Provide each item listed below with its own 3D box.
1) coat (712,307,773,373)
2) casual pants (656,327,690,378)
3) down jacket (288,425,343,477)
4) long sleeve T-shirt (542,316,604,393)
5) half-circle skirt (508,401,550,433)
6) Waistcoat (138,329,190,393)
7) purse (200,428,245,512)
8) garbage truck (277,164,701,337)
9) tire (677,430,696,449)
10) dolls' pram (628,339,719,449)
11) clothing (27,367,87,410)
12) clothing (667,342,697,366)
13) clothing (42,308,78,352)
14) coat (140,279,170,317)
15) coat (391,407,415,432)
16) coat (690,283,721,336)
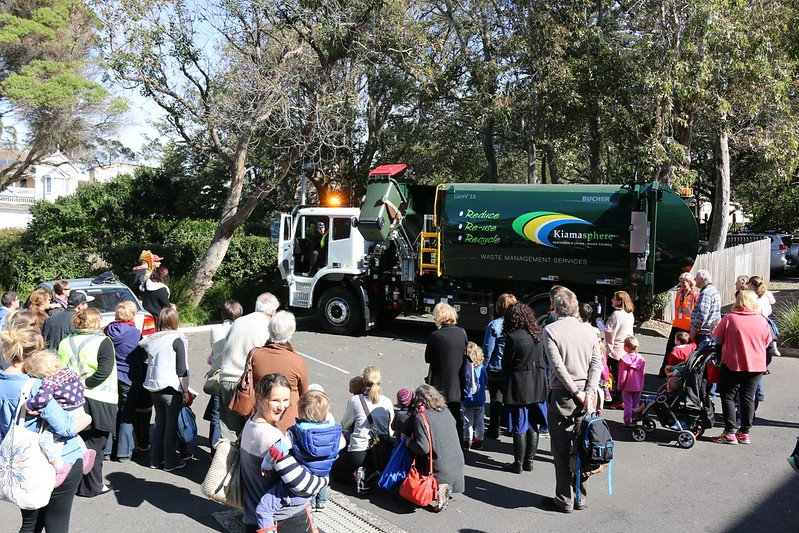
[{"bbox_3d":[6.287,1.323,12.725,1.234,1.445,0.950,3,-1,17],"label":"coat"},{"bbox_3d":[5.699,1.823,14.315,0.243,0.954,0.903,9,18,15],"label":"casual pants"},{"bbox_3d":[-1.097,2.381,9.301,0.765,0.832,0.629,2,8,-6],"label":"down jacket"},{"bbox_3d":[2.731,1.404,10.790,0.932,1.191,0.391,6,-4,-16],"label":"long sleeve T-shirt"},{"bbox_3d":[2.164,2.561,11.571,0.637,0.647,0.496,-5,8,0],"label":"half-circle skirt"},{"bbox_3d":[-3.878,1.563,11.616,0.882,1.033,0.799,3,-5,-39],"label":"Waistcoat"},{"bbox_3d":[-2.519,2.994,9.951,0.570,0.963,0.273,3,-4,16],"label":"purse"},{"bbox_3d":[2.200,-0.563,18.814,9.746,4.384,4.441,2,3,23],"label":"garbage truck"},{"bbox_3d":[5.146,3.113,12.358,0.247,0.277,0.092,17,9,19],"label":"tire"},{"bbox_3d":[5.074,2.259,12.482,1.723,2.661,1.659,0,-5,28],"label":"dolls' pram"},{"bbox_3d":[-4.631,1.674,9.281,0.450,0.555,0.708,11,16,35],"label":"clothing"},{"bbox_3d":[5.427,1.688,13.158,0.419,0.355,0.232,-19,14,12],"label":"clothing"},{"bbox_3d":[-5.607,1.075,11.376,0.573,0.743,0.396,0,-9,-5],"label":"clothing"},{"bbox_3d":[-5.152,0.677,14.445,0.586,0.640,0.359,9,19,28],"label":"coat"},{"bbox_3d":[0.053,2.409,10.811,0.382,0.598,0.315,0,-11,11],"label":"coat"},{"bbox_3d":[6.321,0.857,14.168,0.656,1.244,1.248,1,1,37],"label":"coat"}]
